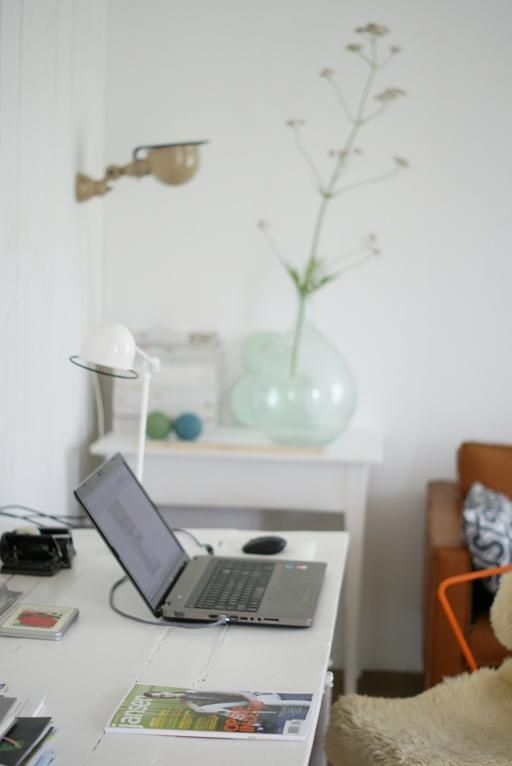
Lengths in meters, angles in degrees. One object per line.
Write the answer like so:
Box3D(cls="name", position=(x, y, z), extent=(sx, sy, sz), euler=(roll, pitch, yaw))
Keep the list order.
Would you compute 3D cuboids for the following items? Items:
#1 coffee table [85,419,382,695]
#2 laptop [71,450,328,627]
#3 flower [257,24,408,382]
Box3D(cls="coffee table", position=(0.000, 0.433, 2.443), extent=(0.855, 0.798, 0.918), euler=(1, 4, 9))
Box3D(cls="laptop", position=(-0.080, 0.206, 1.133), extent=(0.317, 0.182, 0.302), euler=(2, 5, 8))
Box3D(cls="flower", position=(0.265, -0.585, 2.184), extent=(0.477, 1.112, 0.395), euler=(0, 10, -6))
